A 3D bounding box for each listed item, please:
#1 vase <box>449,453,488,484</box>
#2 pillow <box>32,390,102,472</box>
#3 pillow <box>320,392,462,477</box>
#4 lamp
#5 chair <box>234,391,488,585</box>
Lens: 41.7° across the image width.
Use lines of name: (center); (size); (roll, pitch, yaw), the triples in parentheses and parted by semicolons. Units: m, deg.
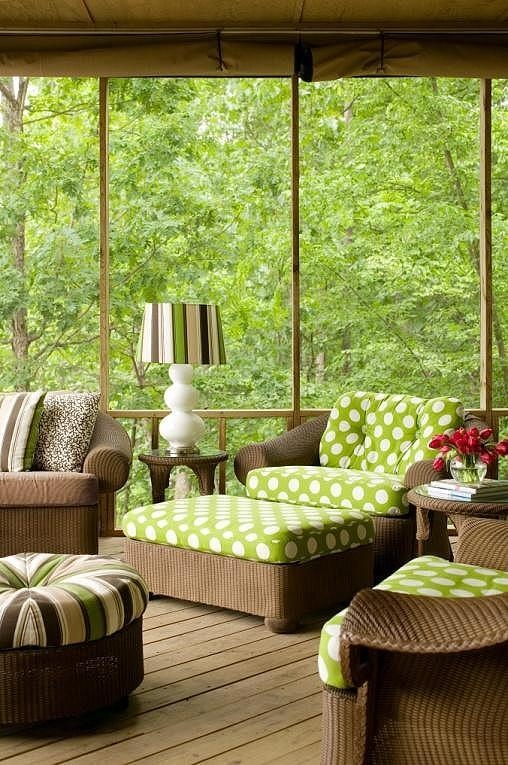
vase: (0.799, 0.322, 2.475); (0.107, 0.084, 0.109); (-7, -9, 43)
pillow: (-0.968, 0.253, 3.393); (0.121, 0.338, 0.388); (22, -23, -39)
pillow: (0.717, 0.257, 3.527); (0.517, 0.488, 0.166); (3, -25, 38)
lamp: (-0.402, -0.018, 3.594); (0.401, 0.721, 0.396); (-2, -1, 41)
chair: (0.624, 0.499, 3.421); (1.131, 0.916, 0.948); (-2, -6, 39)
